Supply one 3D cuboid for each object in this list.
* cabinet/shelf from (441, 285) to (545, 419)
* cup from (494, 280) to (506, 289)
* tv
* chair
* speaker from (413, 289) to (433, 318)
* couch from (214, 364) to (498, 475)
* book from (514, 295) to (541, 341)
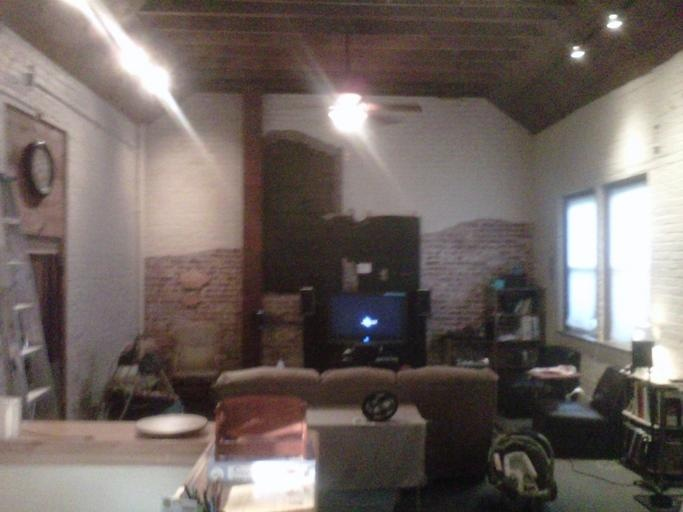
[{"bbox_3d":[2.095,1.231,7.757,1.217,1.725,0.619,-5,10,15],"label":"cabinet/shelf"},{"bbox_3d":[2.060,0.358,7.506,0.110,0.083,0.109,1,3,0],"label":"cup"},{"bbox_3d":[0.289,0.727,7.565,1.048,0.671,0.583,1,11,-11],"label":"tv"},{"bbox_3d":[2.476,1.579,5.978,0.843,0.802,0.822,1,-3,7],"label":"chair"},{"bbox_3d":[1.054,0.615,7.461,0.302,0.553,0.321,-1,-3,3],"label":"speaker"},{"bbox_3d":[0.133,1.562,5.380,2.495,1.061,0.945,-1,-6,-3],"label":"couch"},{"bbox_3d":[2.384,0.780,7.324,0.372,0.511,0.154,-3,-11,24],"label":"book"}]
